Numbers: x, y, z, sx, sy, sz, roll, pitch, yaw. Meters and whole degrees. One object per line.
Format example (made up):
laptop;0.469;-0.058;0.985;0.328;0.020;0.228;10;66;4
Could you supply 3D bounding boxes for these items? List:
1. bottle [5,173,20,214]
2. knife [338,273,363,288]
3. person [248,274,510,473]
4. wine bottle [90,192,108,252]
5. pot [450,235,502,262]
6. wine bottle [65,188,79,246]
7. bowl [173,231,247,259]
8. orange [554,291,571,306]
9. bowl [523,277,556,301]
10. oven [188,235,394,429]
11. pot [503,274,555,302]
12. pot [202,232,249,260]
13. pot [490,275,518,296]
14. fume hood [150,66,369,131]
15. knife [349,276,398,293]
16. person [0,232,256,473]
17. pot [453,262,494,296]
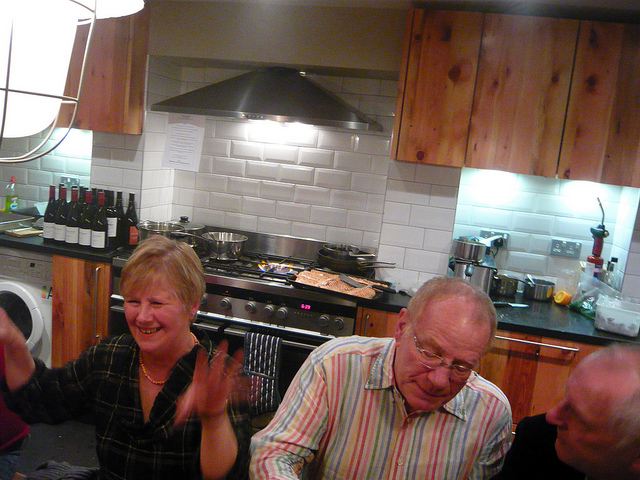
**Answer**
bottle;-2.554;-0.396;4.121;0.113;0.321;0.168;5;3;-32
knife;0.186;0.253;2.995;0.051;0.008;0.174;-25;43;-35
person;0.200;0.502;1.861;0.599;0.952;0.490;21;26;-7
wine bottle;-1.442;-0.117;3.270;0.109;0.390;0.133;6;3;-23
pot;0.969;0.069;3.061;0.232;0.101;0.120;2;0;-23
wine bottle;-1.661;-0.156;3.342;0.078;0.384;0.106;5;4;-39
bowl;-0.722;0.035;3.364;0.373;0.122;0.197;-1;3;9
orange;1.536;0.372;3.133;0.072;0.090;0.091;9;7;-15
bowl;1.419;0.313;3.188;0.152;0.090;0.149;1;1;0
oven;-0.353;0.572;3.325;0.921;1.097;0.824;13;16;7
pot;1.338;0.304;3.253;0.347;0.122;0.137;7;9;40
pot;-0.643;0.040;3.347;0.298;0.114;0.183;2;5;9
pot;1.175;0.297;3.175;0.189;0.070;0.109;0;6;-15
fume hood;-0.308;-0.945;3.144;1.301;0.296;0.396;7;3;6
knife;0.327;0.280;3.054;0.294;0.021;0.047;12;10;30
person;-0.606;0.394;1.663;0.920;0.799;0.428;8;3;23
pot;0.944;0.219;2.973;0.275;0.251;0.193;1;4;15
